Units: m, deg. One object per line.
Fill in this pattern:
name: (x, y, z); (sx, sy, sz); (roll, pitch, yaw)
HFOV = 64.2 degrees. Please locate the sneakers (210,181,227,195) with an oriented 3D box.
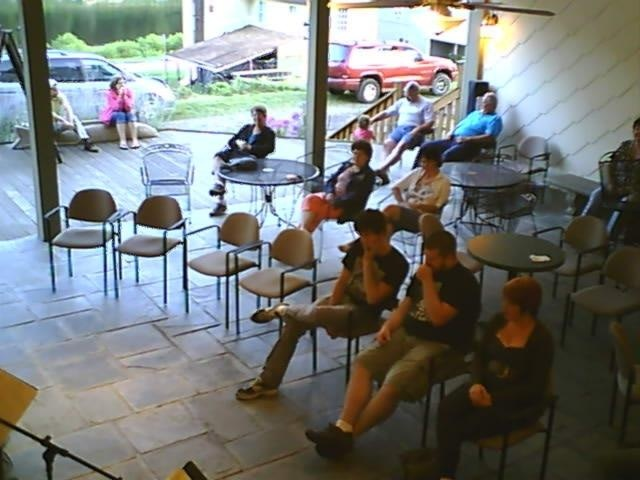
sneakers: (-1.378, -0.708, 6.934); (0.211, 0.198, 0.438); (1, 10, -8)

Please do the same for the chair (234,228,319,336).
chair: (-0.368, 0.400, 4.425); (0.635, 0.892, 0.607); (-12, 25, -32)

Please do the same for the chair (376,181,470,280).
chair: (0.983, -0.208, 5.600); (0.865, 1.121, 0.895); (22, 21, 35)

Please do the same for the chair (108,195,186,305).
chair: (-1.801, -0.040, 5.454); (0.784, 0.953, 1.870); (-6, 23, -21)

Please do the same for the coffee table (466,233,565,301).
coffee table: (1.598, 0.136, 4.172); (0.501, 0.364, 0.510); (-25, 37, -37)

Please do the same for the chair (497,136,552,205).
chair: (3.118, -1.092, 7.964); (0.697, 0.969, 0.774); (-14, 29, -17)

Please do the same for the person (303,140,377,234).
person: (0.185, -0.551, 5.941); (0.877, 1.268, 0.542); (2, 34, -9)

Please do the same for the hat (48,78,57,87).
hat: (-3.149, -1.847, 5.974); (0.065, 0.102, 0.120); (5, 22, 5)

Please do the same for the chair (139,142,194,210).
chair: (-2.025, -0.794, 6.797); (0.848, 0.958, 0.783); (-9, 13, -39)

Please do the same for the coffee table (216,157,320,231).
coffee table: (-0.634, -0.612, 6.309); (1.023, 0.603, 1.083); (11, 19, 32)

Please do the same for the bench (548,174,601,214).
bench: (3.587, -0.651, 7.114); (0.344, 0.403, 0.612); (-19, 29, -30)

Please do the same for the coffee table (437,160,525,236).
coffee table: (1.941, -0.468, 6.422); (0.981, 0.630, 0.982); (13, 19, 32)

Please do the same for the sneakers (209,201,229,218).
sneakers: (-1.450, -0.423, 7.049); (0.123, 0.152, 0.334); (1, 10, 39)

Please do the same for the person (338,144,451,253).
person: (0.883, -0.408, 5.663); (1.056, 1.245, 0.626); (-2, 25, -32)

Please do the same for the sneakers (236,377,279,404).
sneakers: (-0.465, 1.127, 3.807); (0.278, 0.113, 0.145); (2, 4, 3)

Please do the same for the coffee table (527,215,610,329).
coffee table: (2.335, 0.186, 4.734); (0.500, 0.770, 0.570); (-13, 25, -15)

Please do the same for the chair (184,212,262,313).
chair: (-0.901, 0.206, 4.774); (0.594, 0.815, 0.655); (-13, 23, -41)

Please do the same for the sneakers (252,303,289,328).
sneakers: (-0.361, 0.555, 3.787); (0.341, 0.141, 0.123); (-1, -2, 16)

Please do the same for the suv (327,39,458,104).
suv: (1.186, -3.142, 9.388); (2.179, 0.919, 1.020); (-10, 27, -17)
